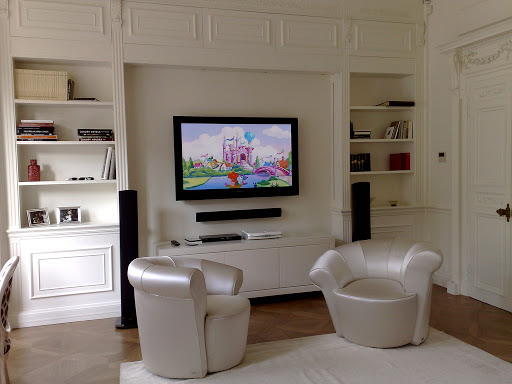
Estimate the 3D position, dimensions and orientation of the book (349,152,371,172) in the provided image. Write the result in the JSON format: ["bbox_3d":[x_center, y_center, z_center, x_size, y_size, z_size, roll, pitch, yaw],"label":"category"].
[{"bbox_3d":[1.463,-0.419,5.534,0.328,0.251,0.227,-2,7,-1],"label":"book"}]

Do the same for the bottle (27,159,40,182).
[{"bbox_3d":[-2.592,-0.259,4.614,0.126,0.245,0.091,-5,8,-27],"label":"bottle"}]

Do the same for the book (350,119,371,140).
[{"bbox_3d":[1.441,-0.853,5.440,0.252,0.172,0.268,-1,7,-7],"label":"book"}]

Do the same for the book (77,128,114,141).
[{"bbox_3d":[-1.884,-0.677,4.682,0.390,0.136,0.104,-4,8,-22],"label":"book"}]

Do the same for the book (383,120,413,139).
[{"bbox_3d":[2.034,-0.891,5.649,0.139,0.256,0.254,11,2,-26],"label":"book"}]

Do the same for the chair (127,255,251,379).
[{"bbox_3d":[-0.544,1.064,3.715,0.986,0.940,1.033,-1,-2,6],"label":"chair"}]

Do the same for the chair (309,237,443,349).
[{"bbox_3d":[1.167,0.959,3.863,1.198,0.910,0.990,-3,-1,25],"label":"chair"}]

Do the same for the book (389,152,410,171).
[{"bbox_3d":[2.055,-0.398,5.780,0.223,0.332,0.330,0,2,-15],"label":"book"}]

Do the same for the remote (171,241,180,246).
[{"bbox_3d":[-0.981,0.612,4.820,0.050,0.031,0.096,-2,8,-21],"label":"remote"}]

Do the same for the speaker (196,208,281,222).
[{"bbox_3d":[-0.231,0.292,5.153,1.105,0.160,0.193,-3,9,-15],"label":"speaker"}]

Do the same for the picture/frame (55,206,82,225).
[{"bbox_3d":[-2.250,0.280,4.745,0.196,0.179,0.028,-2,-8,-17],"label":"picture/frame"}]

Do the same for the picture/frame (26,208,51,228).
[{"bbox_3d":[-2.551,0.297,4.632,0.199,0.202,0.024,-3,-7,-39],"label":"picture/frame"}]

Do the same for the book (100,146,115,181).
[{"bbox_3d":[-1.777,-0.341,4.765,0.128,0.371,0.375,3,3,-9],"label":"book"}]

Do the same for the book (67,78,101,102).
[{"bbox_3d":[-2.038,-1.169,4.704,0.309,0.252,0.308,1,-1,-13],"label":"book"}]
